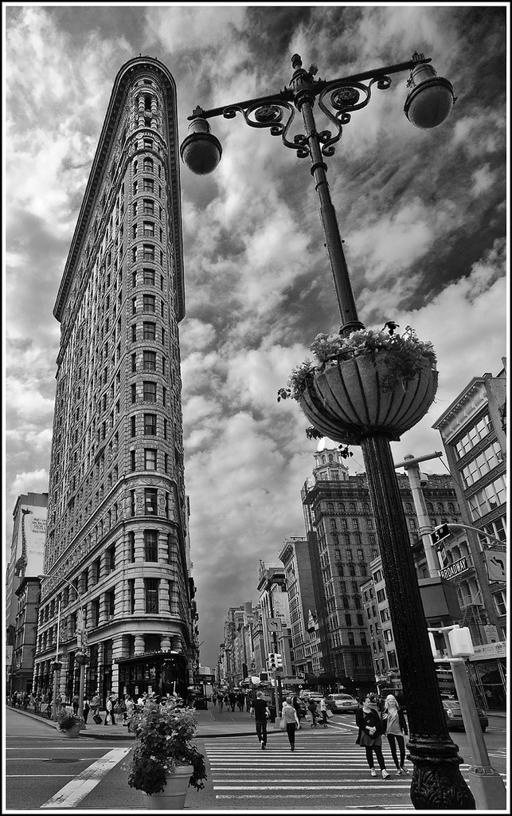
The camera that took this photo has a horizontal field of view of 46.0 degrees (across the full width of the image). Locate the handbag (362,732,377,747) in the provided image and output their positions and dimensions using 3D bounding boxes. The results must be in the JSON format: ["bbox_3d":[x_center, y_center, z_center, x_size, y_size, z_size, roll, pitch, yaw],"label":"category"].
[{"bbox_3d":[2.512,7.399,13.580,0.342,0.392,0.273,14,-27,-30],"label":"handbag"}]

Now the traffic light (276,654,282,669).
[{"bbox_3d":[1.221,13.687,32.519,0.289,0.852,0.833,0,-3,3],"label":"traffic light"}]

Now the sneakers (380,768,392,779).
[{"bbox_3d":[2.767,7.714,12.783,0.125,0.191,0.403,-2,-33,-5],"label":"sneakers"}]

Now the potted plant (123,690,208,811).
[{"bbox_3d":[-1.202,4.526,7.907,1.171,1.842,1.251,1,-35,-11],"label":"potted plant"}]

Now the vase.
[{"bbox_3d":[0.807,0.029,4.769,0.858,0.403,0.950,5,-50,-7],"label":"vase"}]
